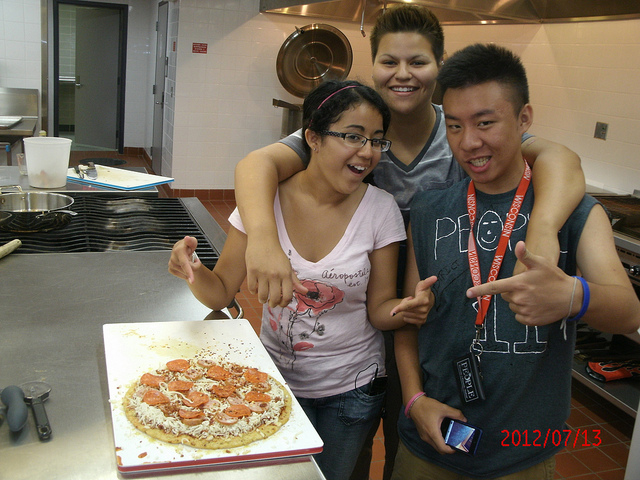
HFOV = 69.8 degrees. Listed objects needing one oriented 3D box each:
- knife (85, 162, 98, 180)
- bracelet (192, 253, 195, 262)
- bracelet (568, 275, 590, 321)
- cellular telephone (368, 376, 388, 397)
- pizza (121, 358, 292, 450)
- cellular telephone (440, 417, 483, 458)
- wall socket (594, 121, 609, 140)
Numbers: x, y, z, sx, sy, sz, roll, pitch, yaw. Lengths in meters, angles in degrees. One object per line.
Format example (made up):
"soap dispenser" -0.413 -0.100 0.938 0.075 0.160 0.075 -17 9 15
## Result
"knife" -1.215 -0.362 2.436 0.057 0.099 0.099 -3 6 -21
"bracelet" -0.381 0.053 1.384 0.006 0.024 0.030 -4 15 -16
"bracelet" 0.624 0.148 1.096 0.020 0.082 0.080 2 -15 11
"cellular telephone" 0.186 0.466 1.473 0.072 0.081 0.008 4 15 -40
"pizza" -0.261 0.374 1.094 0.390 0.056 0.311 0 14 -1
"cellular telephone" 0.406 0.566 1.315 0.113 0.092 0.043 4 14 16
"wall socket" 2.254 -0.870 3.633 0.021 0.156 0.125 -3 18 -29
